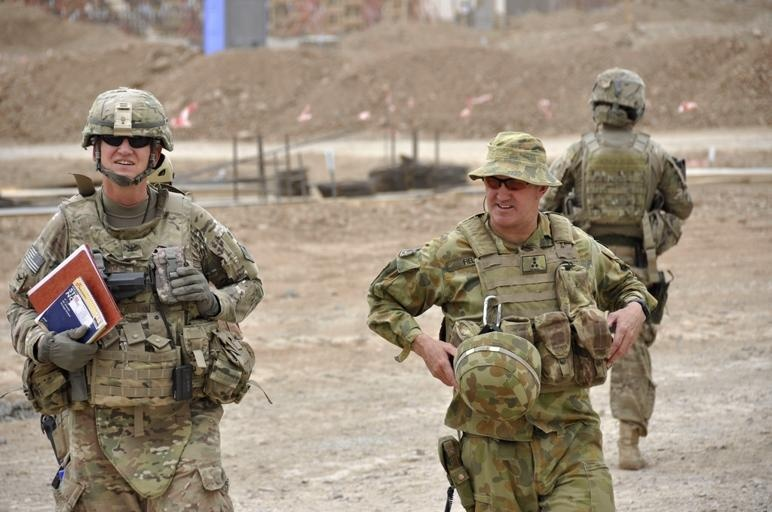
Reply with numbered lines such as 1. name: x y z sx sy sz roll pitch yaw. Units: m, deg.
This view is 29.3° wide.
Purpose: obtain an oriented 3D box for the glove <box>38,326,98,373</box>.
1. glove: -2.788 0.700 12.895 0.459 0.480 0.390 -1 22 18

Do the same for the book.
1. book: -2.727 0.361 12.832 0.811 0.846 0.190 -34 -5 22

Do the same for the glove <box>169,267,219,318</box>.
1. glove: -1.687 0.295 12.986 0.167 0.437 0.334 -34 40 25

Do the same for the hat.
1. hat: 1.153 -0.863 13.043 0.544 0.293 0.556 6 2 -22
